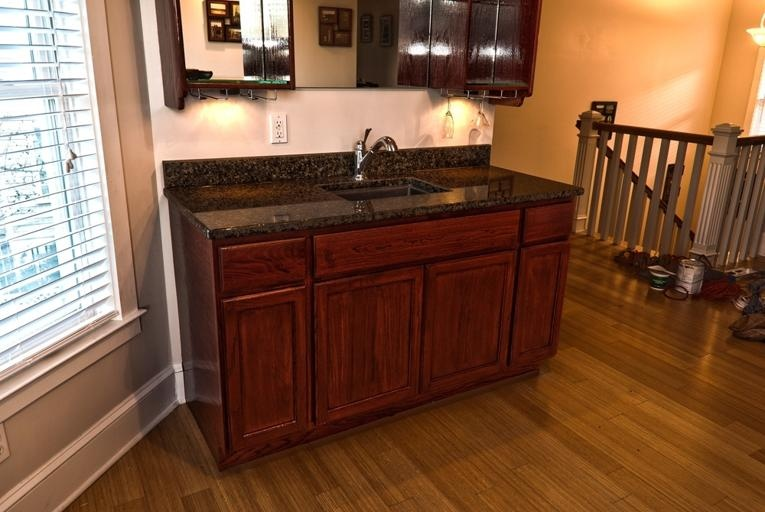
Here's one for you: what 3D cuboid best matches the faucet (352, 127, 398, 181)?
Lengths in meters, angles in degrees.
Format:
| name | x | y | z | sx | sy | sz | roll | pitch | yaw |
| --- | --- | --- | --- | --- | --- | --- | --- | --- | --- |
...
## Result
| name | x | y | z | sx | sy | sz | roll | pitch | yaw |
| --- | --- | --- | --- | --- | --- | --- | --- | --- | --- |
| faucet | -0.031 | -0.549 | 2.795 | 0.112 | 0.266 | 0.422 | -8 | 13 | -26 |

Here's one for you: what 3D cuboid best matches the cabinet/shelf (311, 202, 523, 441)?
| name | x | y | z | sx | sy | sz | roll | pitch | yaw |
| --- | --- | --- | --- | --- | --- | --- | --- | --- | --- |
| cabinet/shelf | 0.142 | 0.296 | 2.535 | 1.169 | 0.868 | 0.401 | -8 | 18 | -25 |

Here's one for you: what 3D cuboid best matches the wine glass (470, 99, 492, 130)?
| name | x | y | z | sx | sy | sz | roll | pitch | yaw |
| --- | --- | --- | --- | --- | --- | --- | --- | --- | --- |
| wine glass | 0.608 | -0.875 | 3.227 | 0.098 | 0.176 | 0.177 | 13 | 26 | 24 |

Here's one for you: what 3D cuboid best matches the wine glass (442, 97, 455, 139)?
| name | x | y | z | sx | sy | sz | roll | pitch | yaw |
| --- | --- | --- | --- | --- | --- | --- | --- | --- | --- |
| wine glass | 0.402 | -0.819 | 3.139 | 0.074 | 0.239 | 0.141 | 5 | 24 | 6 |

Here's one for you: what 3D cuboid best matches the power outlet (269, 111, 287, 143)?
| name | x | y | z | sx | sy | sz | roll | pitch | yaw |
| --- | --- | --- | --- | --- | --- | --- | --- | --- | --- |
| power outlet | -0.549 | -0.676 | 2.746 | 0.101 | 0.159 | 0.036 | -5 | 26 | -14 |

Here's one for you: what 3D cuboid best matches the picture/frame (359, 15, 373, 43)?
| name | x | y | z | sx | sy | sz | roll | pitch | yaw |
| --- | --- | --- | --- | --- | --- | --- | --- | --- | --- |
| picture/frame | -0.089 | -1.208 | 2.763 | 0.020 | 0.140 | 0.098 | 18 | 29 | 31 |

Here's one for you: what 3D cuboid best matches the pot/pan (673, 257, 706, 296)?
| name | x | y | z | sx | sy | sz | roll | pitch | yaw |
| --- | --- | --- | --- | --- | --- | --- | --- | --- | --- |
| pot/pan | 2.358 | 0.156 | 3.998 | 0.163 | 0.232 | 0.161 | -10 | 19 | -40 |

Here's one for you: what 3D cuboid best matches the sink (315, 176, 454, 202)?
| name | x | y | z | sx | sy | sz | roll | pitch | yaw |
| --- | --- | --- | --- | --- | --- | --- | --- | --- | --- |
| sink | 0.003 | -0.353 | 2.823 | 0.676 | 0.104 | 0.270 | 0 | 23 | -4 |

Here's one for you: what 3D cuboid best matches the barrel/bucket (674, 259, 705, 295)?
| name | x | y | z | sx | sy | sz | roll | pitch | yaw |
| --- | --- | --- | --- | --- | --- | --- | --- | --- | --- |
| barrel/bucket | 2.356 | 0.154 | 3.999 | 0.183 | 0.235 | 0.174 | 1 | 15 | 0 |
